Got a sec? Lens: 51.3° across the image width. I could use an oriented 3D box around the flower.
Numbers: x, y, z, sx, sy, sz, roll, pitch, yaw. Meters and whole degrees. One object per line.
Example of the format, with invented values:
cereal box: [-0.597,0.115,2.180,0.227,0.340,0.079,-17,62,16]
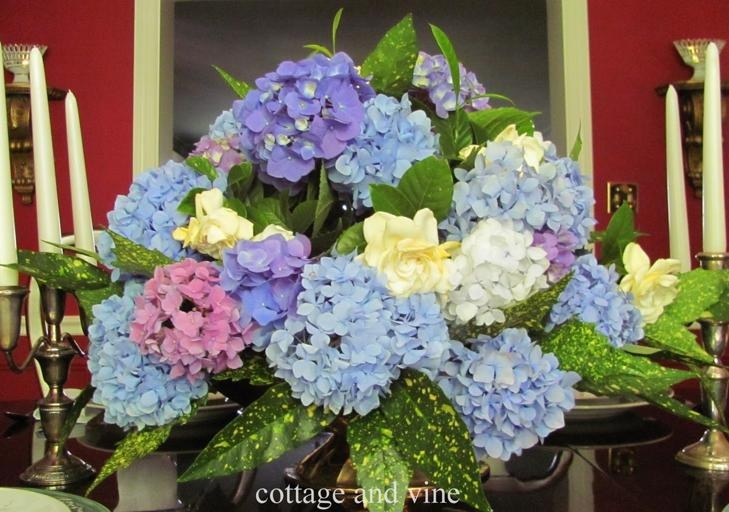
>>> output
flower: [-0.007,0.035,0.858,0.651,0.443,0.652,5,0,-7]
